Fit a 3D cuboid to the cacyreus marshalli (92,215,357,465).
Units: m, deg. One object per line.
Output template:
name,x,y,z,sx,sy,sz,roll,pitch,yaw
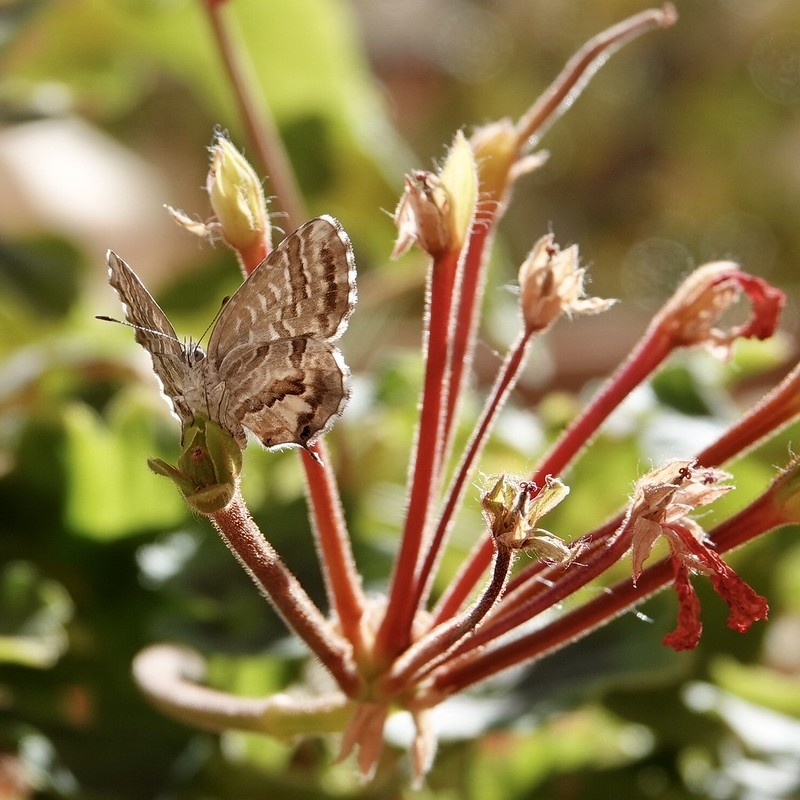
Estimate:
cacyreus marshalli,-0.098,-0.039,0.609,0.143,0.126,0.081,3,-17,5
